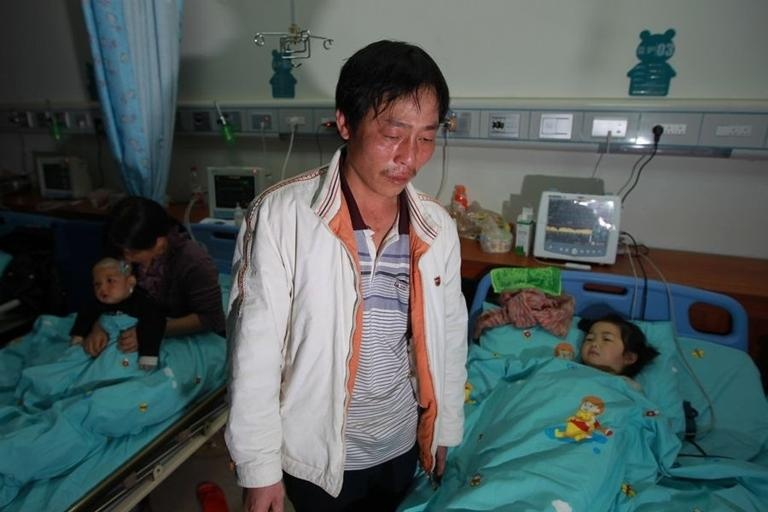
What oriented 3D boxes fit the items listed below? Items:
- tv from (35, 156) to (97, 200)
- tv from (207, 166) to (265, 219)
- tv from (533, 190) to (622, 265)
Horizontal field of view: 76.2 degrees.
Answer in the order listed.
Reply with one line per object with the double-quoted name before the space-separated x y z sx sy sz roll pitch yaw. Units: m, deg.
"tv" -1.509 -0.373 2.332 0.202 0.177 0.179 -2 13 -14
"tv" -0.969 -0.414 3.246 0.342 0.331 0.179 0 10 -8
"tv" 1.108 -0.148 2.779 0.405 0.378 0.212 4 2 14
